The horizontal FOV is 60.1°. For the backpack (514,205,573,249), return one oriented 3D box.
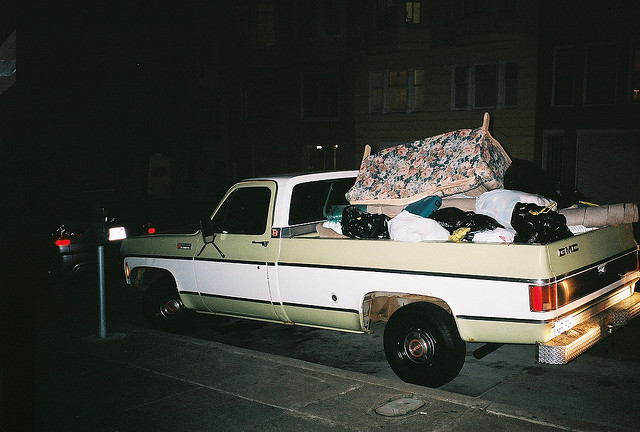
[{"bbox_3d":[2.741,0.105,6.838,0.634,0.446,0.458,2,7,22],"label":"backpack"}]

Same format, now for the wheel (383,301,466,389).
[{"bbox_3d":[1.354,1.651,7.036,1.071,1.160,0.415,-2,4,39],"label":"wheel"}]

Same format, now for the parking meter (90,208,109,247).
[{"bbox_3d":[-3.428,0.182,8.618,0.256,0.628,0.338,-3,7,-23],"label":"parking meter"}]

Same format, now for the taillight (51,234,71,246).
[{"bbox_3d":[-5.307,0.501,11.338,0.368,0.217,0.245,-2,7,-16],"label":"taillight"}]

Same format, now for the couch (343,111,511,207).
[{"bbox_3d":[1.606,-0.439,8.310,2.079,0.929,1.345,-16,47,21],"label":"couch"}]

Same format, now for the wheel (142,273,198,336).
[{"bbox_3d":[-2.504,1.517,9.304,0.973,1.056,0.373,1,4,19],"label":"wheel"}]

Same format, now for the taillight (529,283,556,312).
[{"bbox_3d":[2.621,0.973,6.552,0.303,0.311,0.261,-4,-7,25],"label":"taillight"}]

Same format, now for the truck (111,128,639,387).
[{"bbox_3d":[0.854,0.720,8.598,7.029,2.532,3.669,-1,-2,29],"label":"truck"}]
